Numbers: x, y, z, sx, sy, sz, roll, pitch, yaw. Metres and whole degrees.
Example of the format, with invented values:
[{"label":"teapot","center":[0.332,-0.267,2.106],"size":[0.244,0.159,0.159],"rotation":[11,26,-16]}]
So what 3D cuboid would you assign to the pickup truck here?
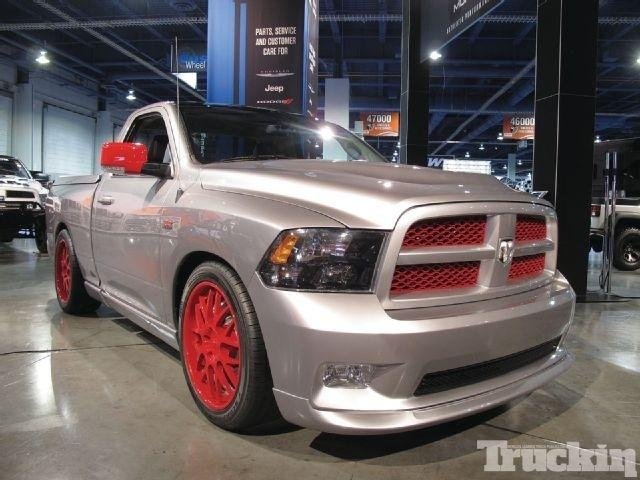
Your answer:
[{"label":"pickup truck","center":[-0.694,0.159,3.302],"size":[1.992,1.396,3.978],"rotation":[-1,4,-37]}]

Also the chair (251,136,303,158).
[{"label":"chair","center":[-0.345,-0.768,3.438],"size":[0.364,0.135,0.265],"rotation":[1,-3,-15]}]
